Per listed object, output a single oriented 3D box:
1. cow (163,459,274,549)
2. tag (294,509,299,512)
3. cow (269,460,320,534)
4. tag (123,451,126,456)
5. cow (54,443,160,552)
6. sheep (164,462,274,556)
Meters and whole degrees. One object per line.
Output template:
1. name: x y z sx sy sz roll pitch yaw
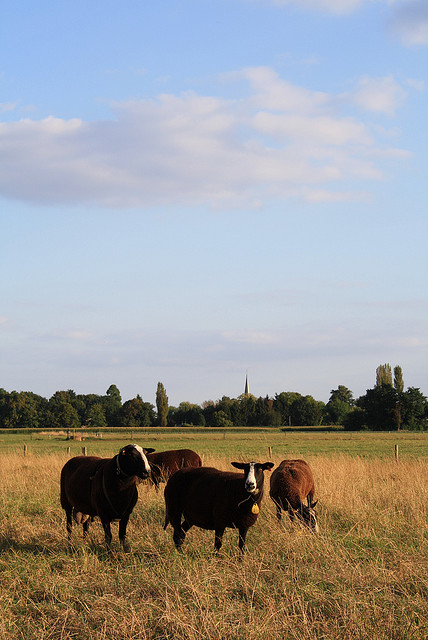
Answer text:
1. cow: 0.033 2.561 12.055 0.752 1.444 2.036 5 -6 -44
2. tag: 1.271 2.947 13.844 0.049 0.077 0.023 1 -30 20
3. cow: 1.384 3.106 14.903 0.683 1.398 2.644 -12 -4 3
4. tag: -1.248 1.881 12.632 0.051 0.058 0.014 -2 -5 41
5. cow: -1.682 2.745 13.544 0.755 1.629 2.542 2 -9 -36
6. sheep: 0.004 2.567 12.056 1.960 1.392 0.723 -4 -6 44
